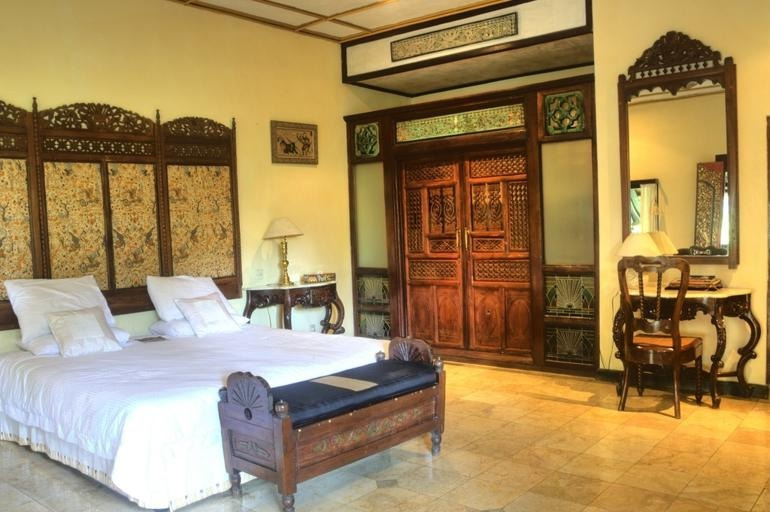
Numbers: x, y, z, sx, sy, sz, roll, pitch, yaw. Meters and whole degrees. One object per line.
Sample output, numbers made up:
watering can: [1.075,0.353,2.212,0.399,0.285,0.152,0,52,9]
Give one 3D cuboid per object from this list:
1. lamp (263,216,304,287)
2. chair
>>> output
lamp: [-1.275,-0.084,7.252,0.515,0.837,0.511,-7,10,-26]
chair: [2.755,0.705,5.619,0.791,1.536,0.880,3,10,28]
